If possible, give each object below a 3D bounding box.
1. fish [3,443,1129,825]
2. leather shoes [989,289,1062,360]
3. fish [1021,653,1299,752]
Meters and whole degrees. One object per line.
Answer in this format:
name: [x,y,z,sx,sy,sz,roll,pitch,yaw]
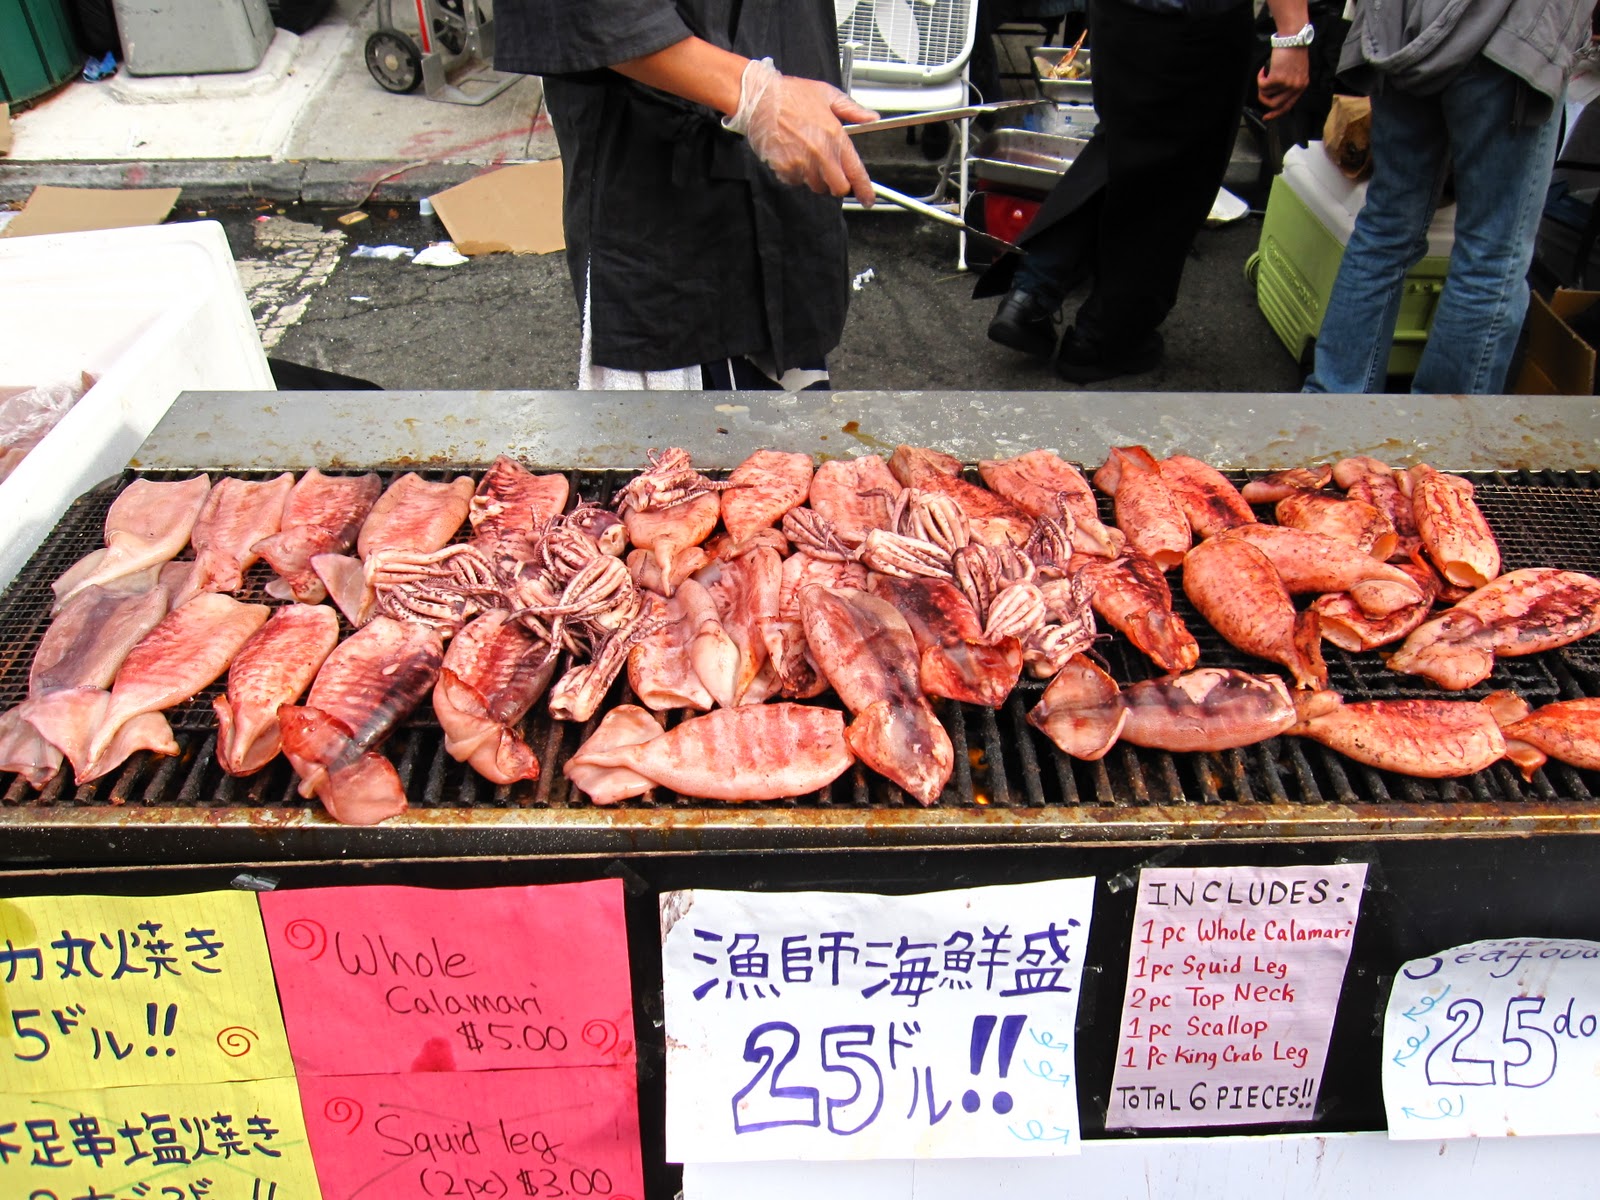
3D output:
fish: [-0.407,0.003,2.058,1.663,0.173,0.737,0,44,-4]
leather shoes: [1.059,-1.309,5.313,0.184,0.218,0.497,31,15,30]
fish: [0.626,0.201,1.912,0.453,0.118,0.181,4,34,7]
